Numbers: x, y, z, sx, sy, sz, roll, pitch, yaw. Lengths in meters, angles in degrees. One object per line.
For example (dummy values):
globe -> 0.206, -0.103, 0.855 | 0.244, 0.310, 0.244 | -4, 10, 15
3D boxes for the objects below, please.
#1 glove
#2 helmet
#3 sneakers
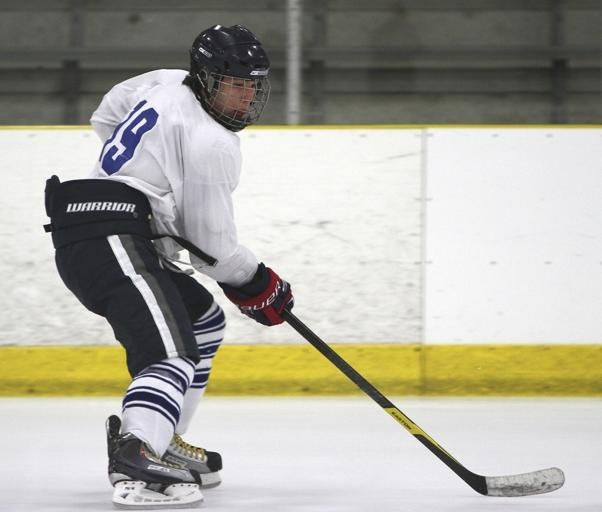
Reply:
glove -> -0.134, 0.174, 4.352 | 0.156, 0.174, 0.188 | -7, 33, 45
helmet -> -0.291, -0.707, 4.339 | 0.371, 0.309, 0.309 | 27, 26, 30
sneakers -> -0.504, 0.758, 4.159 | 0.555, 0.183, 0.158 | 5, 4, -13
